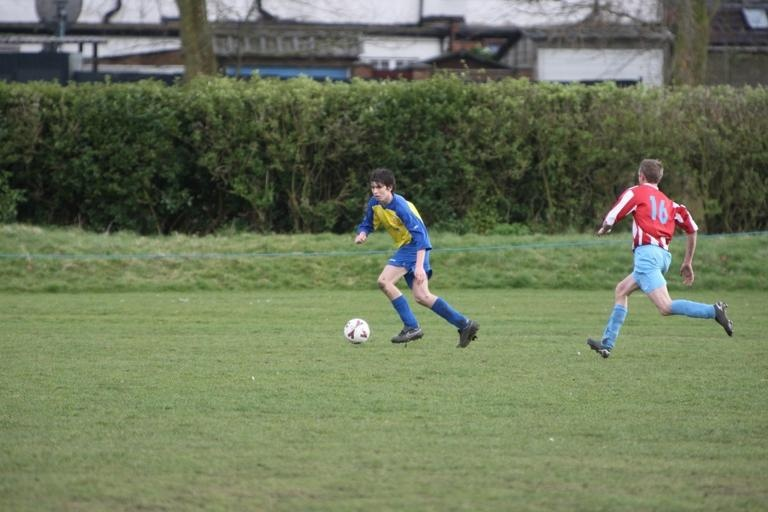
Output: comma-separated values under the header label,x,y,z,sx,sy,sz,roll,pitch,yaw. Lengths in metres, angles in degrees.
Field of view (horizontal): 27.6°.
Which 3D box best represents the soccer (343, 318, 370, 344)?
label,x,y,z,sx,sy,sz,roll,pitch,yaw
soccer,-0.540,1.603,33.744,0.527,0.519,0.519,-3,-11,4
